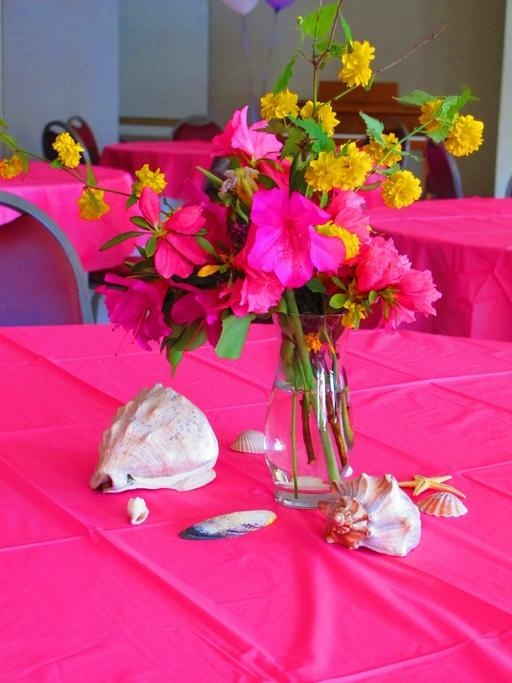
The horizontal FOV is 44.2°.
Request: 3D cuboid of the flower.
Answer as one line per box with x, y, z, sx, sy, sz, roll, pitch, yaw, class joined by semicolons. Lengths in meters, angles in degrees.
0.064;-0.052;0.643;0.432;0.435;0.378;-2;2;-43;flower
